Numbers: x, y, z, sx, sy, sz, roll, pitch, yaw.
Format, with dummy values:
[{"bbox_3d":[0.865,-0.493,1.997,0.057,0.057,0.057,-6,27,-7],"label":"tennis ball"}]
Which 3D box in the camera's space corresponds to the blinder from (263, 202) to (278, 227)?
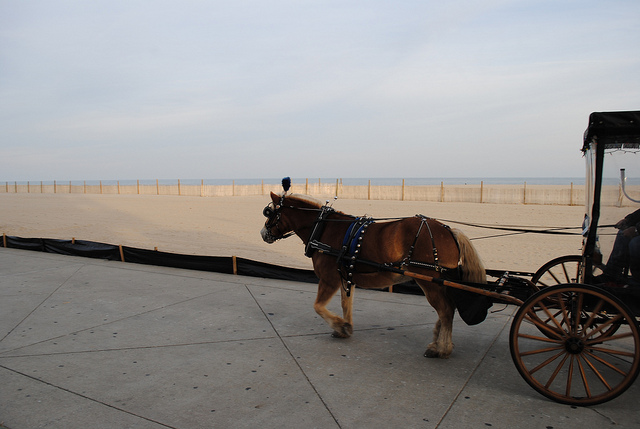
[{"bbox_3d":[-0.848,-0.003,8.597,0.223,0.353,0.275,-4,15,-13],"label":"blinder"}]
